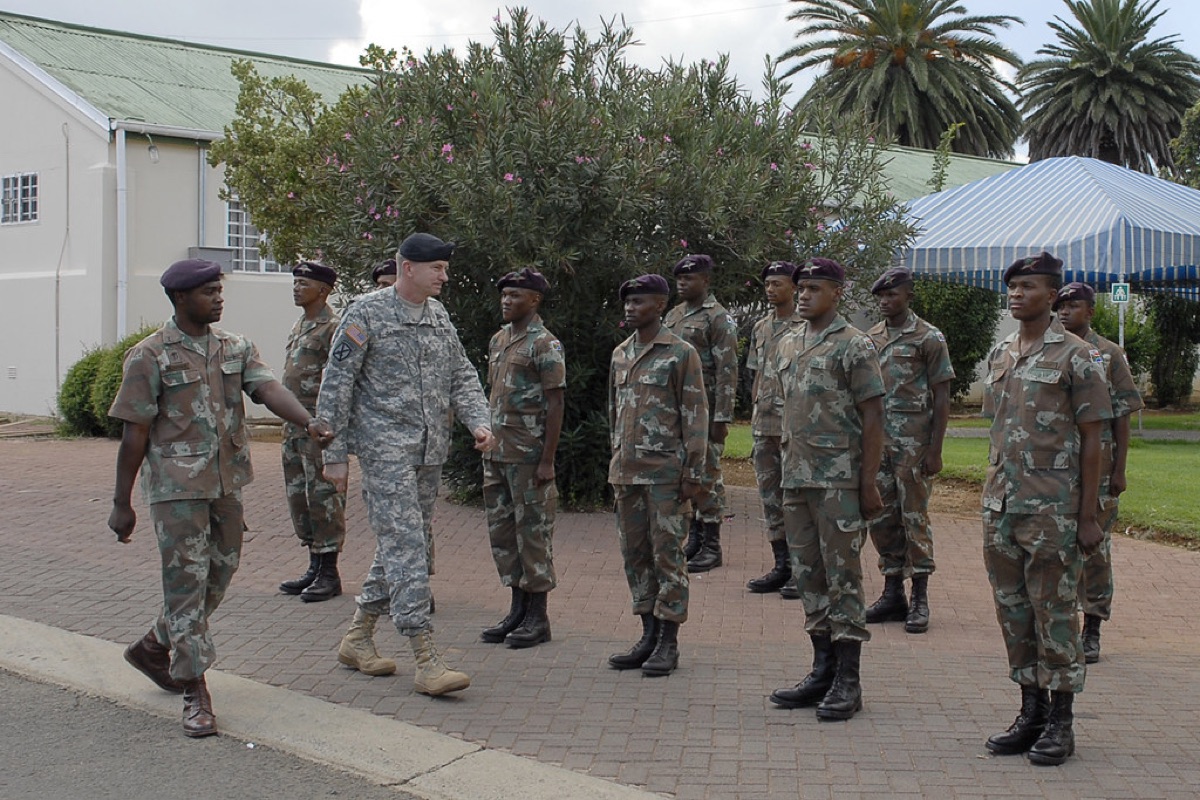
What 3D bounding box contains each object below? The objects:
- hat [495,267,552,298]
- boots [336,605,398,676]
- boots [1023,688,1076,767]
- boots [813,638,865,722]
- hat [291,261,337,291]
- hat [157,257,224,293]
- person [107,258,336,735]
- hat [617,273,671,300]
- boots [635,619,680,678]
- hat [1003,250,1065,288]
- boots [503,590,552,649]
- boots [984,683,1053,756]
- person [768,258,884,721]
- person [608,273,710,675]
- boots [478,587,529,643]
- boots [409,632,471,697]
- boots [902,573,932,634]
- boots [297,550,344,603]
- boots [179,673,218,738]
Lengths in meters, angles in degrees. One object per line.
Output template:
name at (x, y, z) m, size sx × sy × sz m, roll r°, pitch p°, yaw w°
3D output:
hat at (-0.601, -0.943, 8.076) m, size 0.463 × 0.189 × 0.362 m, roll -2°, pitch 2°, yaw 0°
boots at (-1.632, 1.713, 7.270) m, size 0.467 × 0.397 × 0.201 m, roll 11°, pitch -2°, yaw 28°
boots at (2.590, 1.952, 5.979) m, size 0.226 × 0.425 × 0.532 m, roll -5°, pitch -6°, yaw 42°
boots at (1.551, 1.787, 6.594) m, size 0.253 × 0.482 × 0.343 m, roll 4°, pitch 8°, yaw 22°
hat at (-2.562, -1.150, 9.242) m, size 0.293 × 0.145 × 0.364 m, roll 6°, pitch -4°, yaw 45°
hat at (-2.631, -0.802, 6.525) m, size 0.327 × 0.099 × 0.271 m, roll -10°, pitch 15°, yaw 1°
person at (-2.554, 0.551, 6.512) m, size 1.039 × 2.884 × 0.820 m, roll -4°, pitch 9°, yaw -29°
hat at (0.286, -0.844, 7.569) m, size 0.276 × 0.095 × 0.241 m, roll 1°, pitch 2°, yaw 38°
boots at (0.414, 1.764, 7.317) m, size 0.272 × 0.366 × 0.285 m, roll 2°, pitch 7°, yaw 9°
hat at (2.634, -0.798, 6.197) m, size 0.317 × 0.111 × 0.223 m, roll 0°, pitch 2°, yaw 7°
boots at (-0.558, 1.675, 7.891) m, size 0.301 × 0.396 × 0.311 m, roll 2°, pitch 8°, yaw 11°
boots at (2.536, 1.914, 6.182) m, size 0.489 × 0.385 × 0.177 m, roll -3°, pitch 5°, yaw -23°
person at (1.503, 0.542, 6.741) m, size 0.684 × 2.930 × 0.912 m, roll 2°, pitch 8°, yaw 9°
person at (0.342, 0.714, 7.513) m, size 0.802 × 2.409 × 0.746 m, roll 7°, pitch 10°, yaw 38°
boots at (-0.736, 1.685, 8.059) m, size 0.215 × 0.418 × 0.509 m, roll 15°, pitch 5°, yaw 40°
boots at (-1.092, 1.768, 6.860) m, size 0.214 × 0.377 × 0.577 m, roll -7°, pitch -4°, yaw -42°
boots at (2.642, 1.694, 8.494) m, size 0.209 × 0.432 × 0.512 m, roll -1°, pitch 5°, yaw 25°
boots at (-2.465, 1.531, 8.991) m, size 0.245 × 0.437 × 0.506 m, roll 4°, pitch 11°, yaw 17°
boots at (-2.516, 1.873, 6.370) m, size 0.194 × 0.349 × 0.503 m, roll 1°, pitch 9°, yaw -27°
